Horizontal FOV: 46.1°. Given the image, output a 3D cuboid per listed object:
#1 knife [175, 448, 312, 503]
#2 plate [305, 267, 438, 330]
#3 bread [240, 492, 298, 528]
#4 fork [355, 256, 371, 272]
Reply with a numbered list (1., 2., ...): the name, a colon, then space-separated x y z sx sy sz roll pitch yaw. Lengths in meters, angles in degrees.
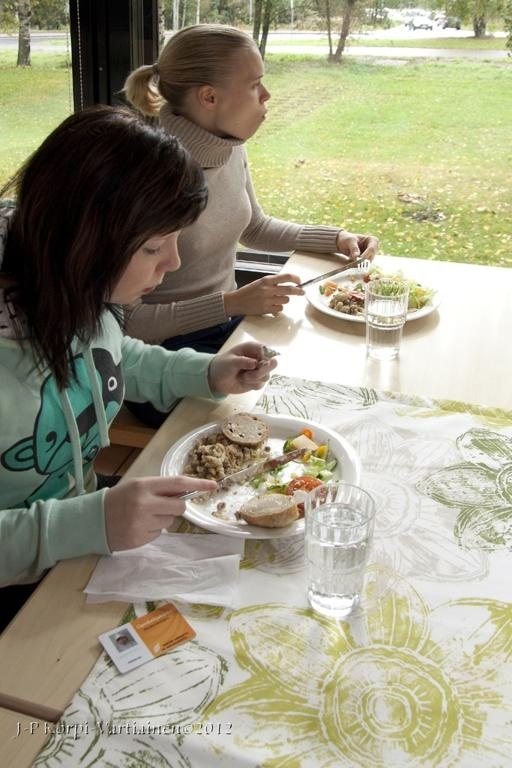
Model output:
1. knife: -0.017 0.125 0.801 0.142 0.020 0.011 -22 19 -20
2. plate: 0.257 -0.195 1.447 0.231 0.030 0.211 15 37 27
3. bread: 0.015 0.149 0.716 0.049 0.017 0.038 2 20 14
4. fork: 0.297 -0.328 1.656 0.036 0.020 0.048 -4 31 -5
